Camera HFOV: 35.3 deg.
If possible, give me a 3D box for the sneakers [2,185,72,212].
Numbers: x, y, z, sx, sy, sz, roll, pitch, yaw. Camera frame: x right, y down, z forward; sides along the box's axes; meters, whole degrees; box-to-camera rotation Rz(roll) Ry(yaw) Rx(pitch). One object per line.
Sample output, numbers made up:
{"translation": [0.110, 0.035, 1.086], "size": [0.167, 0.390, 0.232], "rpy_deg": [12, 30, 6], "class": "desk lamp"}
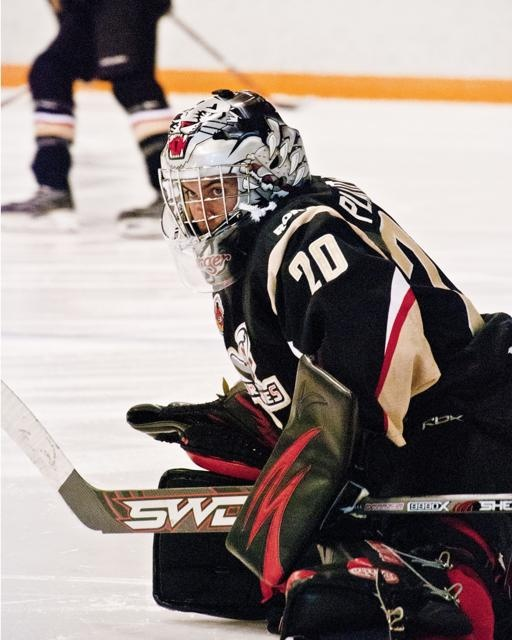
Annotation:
{"translation": [-0.724, -0.425, 2.835], "size": [0.309, 0.090, 0.082], "rpy_deg": [0, 22, -4], "class": "sneakers"}
